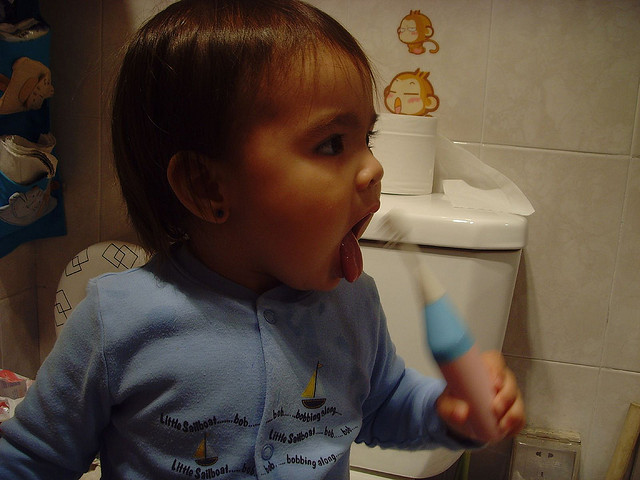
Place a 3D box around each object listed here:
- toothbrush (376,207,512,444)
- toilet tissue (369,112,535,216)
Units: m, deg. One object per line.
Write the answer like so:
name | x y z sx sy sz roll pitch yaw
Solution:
toothbrush | 0.153 0.107 0.693 0.054 0.351 0.065 -25 15 22
toilet tissue | 0.261 -0.153 1.136 0.311 0.189 0.126 7 21 24
